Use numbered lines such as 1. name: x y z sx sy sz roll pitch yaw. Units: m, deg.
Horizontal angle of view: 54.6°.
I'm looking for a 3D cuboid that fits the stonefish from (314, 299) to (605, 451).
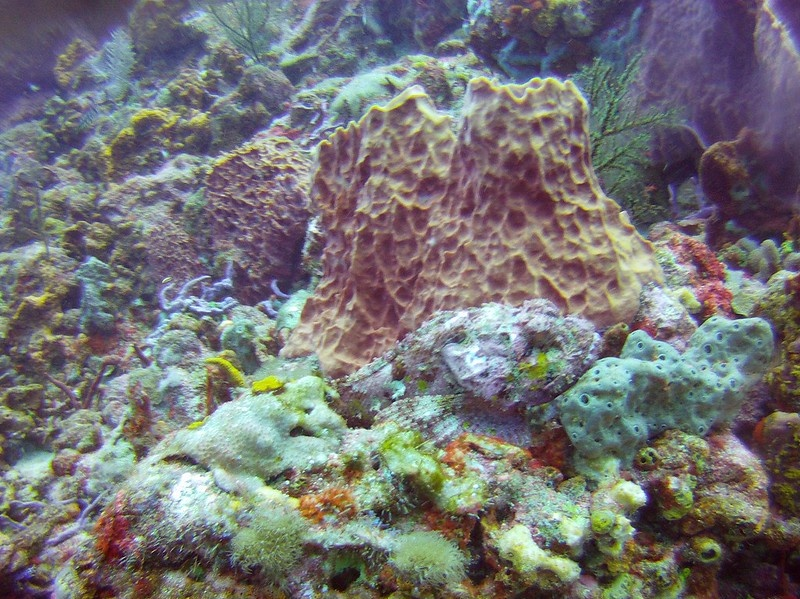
1. stonefish: 0.318 0.639 5.545 2.199 0.725 0.982 -2 83 19
